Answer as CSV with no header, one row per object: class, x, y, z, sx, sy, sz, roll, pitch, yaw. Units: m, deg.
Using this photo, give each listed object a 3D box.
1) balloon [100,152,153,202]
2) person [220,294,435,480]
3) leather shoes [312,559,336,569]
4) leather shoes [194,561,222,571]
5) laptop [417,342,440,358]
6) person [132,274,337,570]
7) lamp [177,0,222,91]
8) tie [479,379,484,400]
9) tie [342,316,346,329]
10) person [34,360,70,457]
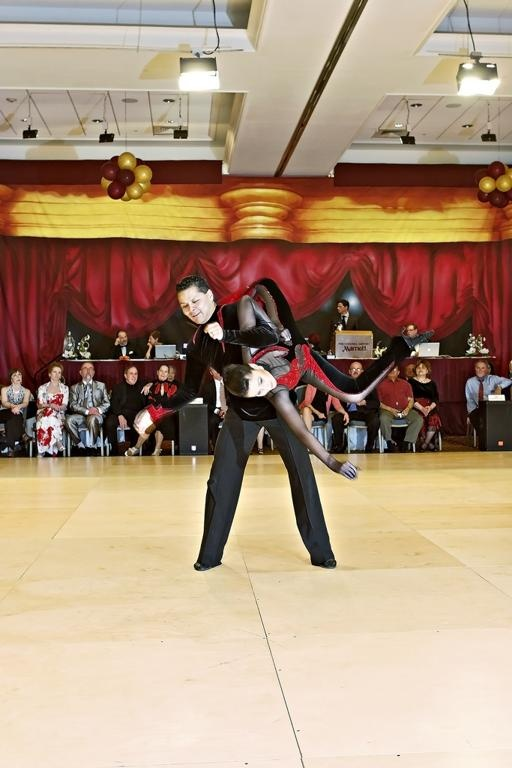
balloon,-1.944,-3.044,8.711,0.737,0.654,0.519,0,-4,-4
person,0.255,-0.116,3.118,1.147,0.968,1.226,-9,8,14
leather shoes,0.385,1.000,3.267,0.144,0.060,0.054,-6,-2,25
leather shoes,-0.273,1.016,3.309,0.149,0.058,0.050,0,37,-15
laptop,2.999,-0.579,10.218,0.389,0.255,0.270,1,4,3
person,-0.096,0.095,3.194,0.999,1.650,0.752,8,-34,-25
lamp,-0.631,-3.793,6.541,0.437,1.257,0.608,0,-4,-8
tie,3.638,0.112,9.455,0.062,0.307,0.159,-3,-5,31
tie,1.662,-1.133,10.964,0.060,0.259,0.070,0,-1,-10
person,-3.081,0.398,8.861,0.469,1.388,0.460,2,-5,-27
